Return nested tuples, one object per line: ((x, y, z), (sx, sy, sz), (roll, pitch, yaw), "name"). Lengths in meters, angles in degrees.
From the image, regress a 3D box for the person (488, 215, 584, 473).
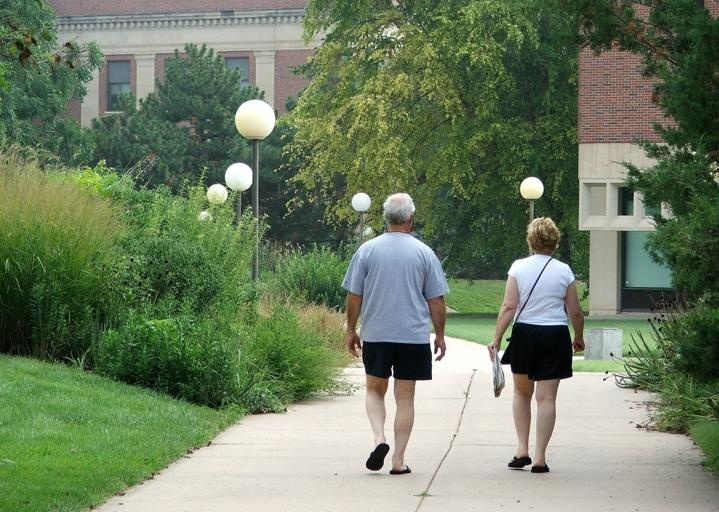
((2.182, 1.072, 14.785), (0.899, 2.979, 0.939), (10, 12, 41), "person")

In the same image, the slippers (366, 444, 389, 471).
((0.225, 2.397, 14.381), (0.167, 0.442, 0.116), (22, 19, -6), "slippers")

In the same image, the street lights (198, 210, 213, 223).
((-2.535, -0.647, 19.914), (0.098, 0.204, 0.187), (16, 29, 26), "street lights")

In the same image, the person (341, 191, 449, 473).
((0.428, 0.934, 14.578), (1.225, 3.273, 0.964), (3, 9, 4), "person")

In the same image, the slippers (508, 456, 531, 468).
((1.957, 2.513, 14.657), (0.239, 0.118, 0.131), (-6, 3, 41), "slippers")
